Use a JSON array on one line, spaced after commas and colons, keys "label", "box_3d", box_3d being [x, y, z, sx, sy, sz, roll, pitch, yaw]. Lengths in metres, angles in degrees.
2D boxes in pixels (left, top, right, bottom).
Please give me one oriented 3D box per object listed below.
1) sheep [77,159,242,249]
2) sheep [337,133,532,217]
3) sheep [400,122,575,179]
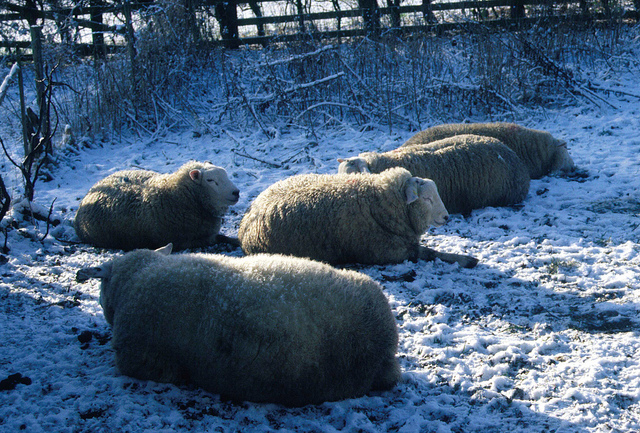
[{"label": "sheep", "box_3d": [-2.912, -0.329, 13.148, 2.805, 1.366, 1.432, -1, 13, 1]}, {"label": "sheep", "box_3d": [2.344, -0.753, 14.286, 3.745, 1.795, 1.676, -8, 18, 15]}, {"label": "sheep", "box_3d": [3.213, -1.427, 15.201, 3.707, 1.665, 1.230, -1, 29, 3]}]
